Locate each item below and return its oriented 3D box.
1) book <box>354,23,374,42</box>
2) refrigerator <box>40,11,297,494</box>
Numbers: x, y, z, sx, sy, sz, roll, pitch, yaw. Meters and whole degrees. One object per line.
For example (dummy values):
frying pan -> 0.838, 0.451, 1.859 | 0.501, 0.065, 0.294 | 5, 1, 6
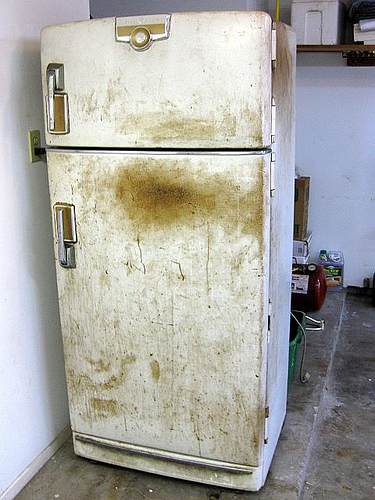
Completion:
book -> 1.204, -1.470, 3.250 | 0.128, 0.112, 0.038 | 4, 11, 18
refrigerator -> 0.004, -0.091, 2.028 | 0.757, 2.225, 0.800 | 3, 19, 14
